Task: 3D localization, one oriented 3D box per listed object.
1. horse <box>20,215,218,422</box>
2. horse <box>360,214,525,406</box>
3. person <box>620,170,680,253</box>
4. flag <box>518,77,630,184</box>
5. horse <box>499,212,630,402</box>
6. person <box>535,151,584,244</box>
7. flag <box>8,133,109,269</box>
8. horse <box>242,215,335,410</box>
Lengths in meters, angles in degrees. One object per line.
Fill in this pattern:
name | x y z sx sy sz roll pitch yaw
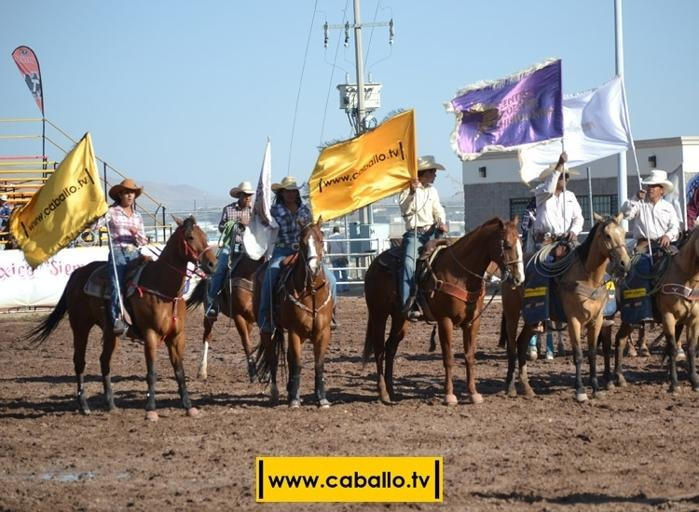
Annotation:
horse | -3.602 0.903 17.668 3.170 3.273 0.851 4 10 25
horse | 1.367 0.982 18.101 0.997 3.149 3.766 0 -5 -43
person | 5.429 -0.773 19.470 0.829 1.709 0.812 3 0 -3
flag | 4.001 -2.311 19.524 2.182 2.016 0.275 -20 -15 16
horse | 3.559 0.906 18.153 0.918 3.137 3.297 2 -5 -28
person | 3.633 -0.910 18.684 0.714 1.767 1.104 4 5 15
flag | -4.757 -0.936 17.472 1.391 0.347 3.277 -8 -31 -32
horse | -0.882 0.881 17.741 0.893 3.107 1.569 -7 11 -33
